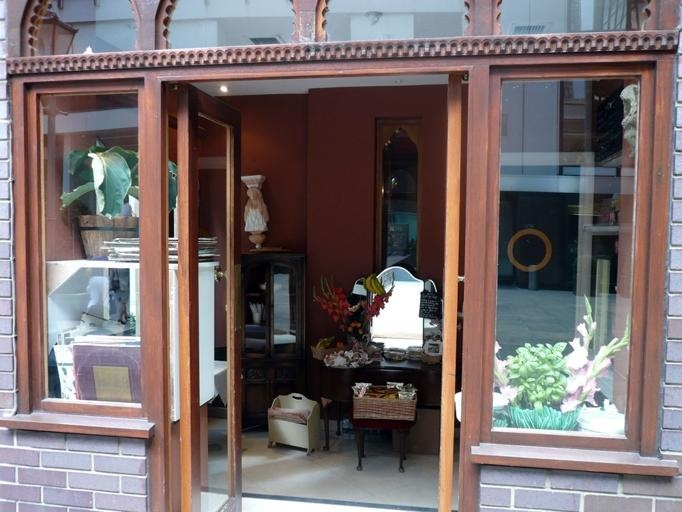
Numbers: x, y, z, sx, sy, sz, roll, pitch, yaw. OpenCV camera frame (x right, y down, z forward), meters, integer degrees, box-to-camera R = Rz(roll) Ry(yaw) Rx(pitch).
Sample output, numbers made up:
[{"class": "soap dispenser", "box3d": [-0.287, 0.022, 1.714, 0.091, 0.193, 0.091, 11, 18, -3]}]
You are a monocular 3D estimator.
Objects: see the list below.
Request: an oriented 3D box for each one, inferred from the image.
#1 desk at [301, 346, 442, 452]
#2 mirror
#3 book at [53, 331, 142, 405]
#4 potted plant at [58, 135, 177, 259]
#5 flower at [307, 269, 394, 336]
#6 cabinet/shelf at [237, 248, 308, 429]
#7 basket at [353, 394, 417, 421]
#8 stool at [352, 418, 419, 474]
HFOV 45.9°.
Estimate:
[{"class": "desk", "box3d": [0.255, 1.345, 6.103, 0.984, 0.678, 0.727, 5, -43, -2]}, {"class": "mirror", "box3d": [0.436, 0.447, 6.436, 0.575, 0.897, 0.059, 1, -17, 5]}, {"class": "book", "box3d": [-1.171, 0.558, 3.947, 0.513, 0.379, 0.288, -1, -4, 7]}, {"class": "potted plant", "box3d": [-1.142, -0.260, 4.172, 0.526, 0.537, 0.550, -4, -2, 23]}, {"class": "flower", "box3d": [0.095, 0.425, 6.661, 0.501, 0.461, 0.528, 2, -12, 1]}, {"class": "cabinet/shelf", "box3d": [-0.565, 0.679, 6.681, 0.589, 1.591, 0.378, 2, 21, 2]}, {"class": "basket", "box3d": [0.315, 1.091, 5.750, 0.444, 0.158, 0.060, 1, 5, 0]}, {"class": "stool", "box3d": [0.313, 1.323, 5.989, 0.456, 0.368, 0.624, 2, 6, 6]}]
